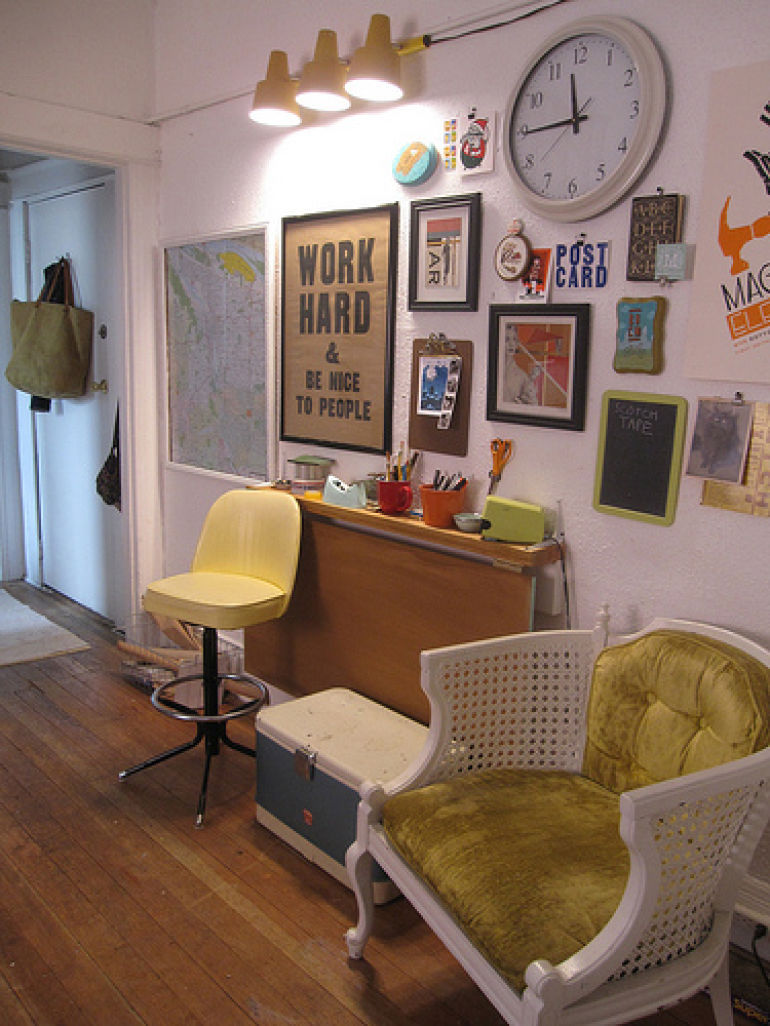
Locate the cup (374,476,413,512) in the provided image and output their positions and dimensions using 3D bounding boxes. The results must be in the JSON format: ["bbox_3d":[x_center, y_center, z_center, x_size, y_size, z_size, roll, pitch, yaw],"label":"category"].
[{"bbox_3d":[0.034,-0.051,2.267,0.108,0.099,0.100,1,10,0],"label":"cup"}]

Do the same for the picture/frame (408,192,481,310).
[{"bbox_3d":[0.163,-0.699,2.103,0.024,0.339,0.300,-9,17,-40],"label":"picture/frame"}]

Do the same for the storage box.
[{"bbox_3d":[-0.057,0.622,2.074,0.421,0.359,0.579,-6,16,-38],"label":"storage box"}]

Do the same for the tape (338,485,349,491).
[{"bbox_3d":[-0.128,-0.079,2.406,0.015,0.018,0.045,-1,7,-8],"label":"tape"}]

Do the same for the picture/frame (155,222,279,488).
[{"bbox_3d":[-0.632,-0.635,3.061,0.044,1.003,1.003,-9,15,-41],"label":"picture/frame"}]

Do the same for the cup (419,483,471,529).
[{"bbox_3d":[0.149,-0.021,2.079,0.117,0.085,0.105,6,4,27],"label":"cup"}]

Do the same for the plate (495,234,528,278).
[{"bbox_3d":[0.305,-0.621,1.921,0.018,0.111,0.111,-4,12,-34],"label":"plate"}]

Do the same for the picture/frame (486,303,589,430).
[{"bbox_3d":[0.371,-0.359,1.903,0.023,0.288,0.283,-7,17,-36],"label":"picture/frame"}]

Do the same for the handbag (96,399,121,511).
[{"bbox_3d":[-1.271,-0.246,3.667,0.099,0.488,0.349,-2,11,-20],"label":"handbag"}]
